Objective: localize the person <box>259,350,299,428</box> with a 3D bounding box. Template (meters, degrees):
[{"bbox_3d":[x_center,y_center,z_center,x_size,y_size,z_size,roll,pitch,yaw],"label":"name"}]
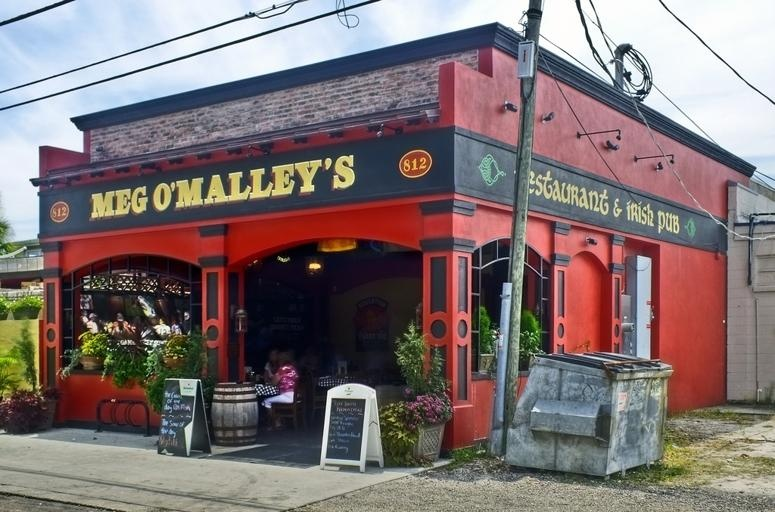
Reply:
[{"bbox_3d":[-2.436,2.953,16.729,0.946,1.700,0.700,-6,-8,17],"label":"person"}]

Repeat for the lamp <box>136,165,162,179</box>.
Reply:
[{"bbox_3d":[-5.474,-1.978,17.279,0.450,0.300,0.107,2,21,21],"label":"lamp"}]

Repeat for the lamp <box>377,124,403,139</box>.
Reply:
[{"bbox_3d":[0.056,-2.424,14.559,0.420,0.192,0.228,0,3,-39],"label":"lamp"}]

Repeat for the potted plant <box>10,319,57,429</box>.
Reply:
[{"bbox_3d":[-8.504,2.803,17.922,1.005,2.484,1.725,-1,0,-27],"label":"potted plant"}]

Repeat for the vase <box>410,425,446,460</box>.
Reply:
[{"bbox_3d":[0.777,3.373,13.633,0.782,0.635,0.591,6,-11,-41],"label":"vase"}]

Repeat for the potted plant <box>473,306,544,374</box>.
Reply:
[{"bbox_3d":[2.507,1.704,15.342,1.362,0.978,1.400,0,-3,12],"label":"potted plant"}]

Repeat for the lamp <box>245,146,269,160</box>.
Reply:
[{"bbox_3d":[-2.756,-2.227,15.939,0.577,0.199,0.135,0,0,26],"label":"lamp"}]

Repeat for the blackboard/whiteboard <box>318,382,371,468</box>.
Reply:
[{"bbox_3d":[-0.591,2.967,13.532,0.882,1.438,1.127,0,1,9],"label":"blackboard/whiteboard"}]

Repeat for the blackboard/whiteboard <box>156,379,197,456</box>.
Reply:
[{"bbox_3d":[-4.132,3.117,14.617,0.873,1.271,0.365,0,0,28],"label":"blackboard/whiteboard"}]
